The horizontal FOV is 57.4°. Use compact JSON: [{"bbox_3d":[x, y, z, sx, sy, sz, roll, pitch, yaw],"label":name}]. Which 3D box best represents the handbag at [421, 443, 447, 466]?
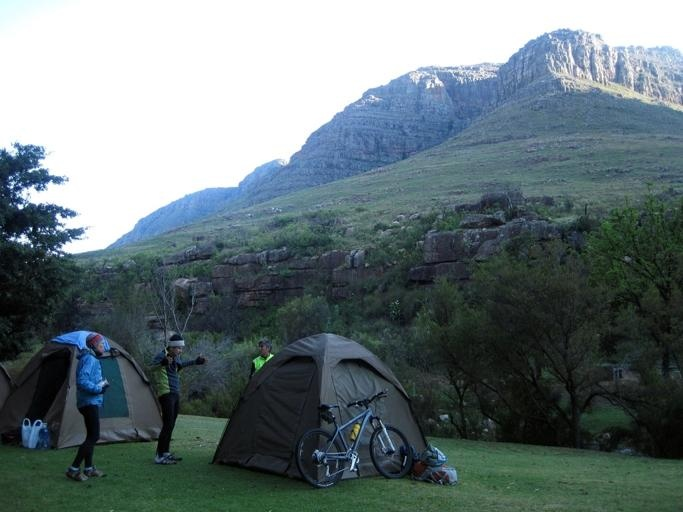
[{"bbox_3d":[2.713,5.591,17.369,0.778,0.293,0.563,13,23,-34],"label":"handbag"}]

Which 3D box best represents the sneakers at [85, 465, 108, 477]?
[{"bbox_3d":[-6.444,5.687,16.449,0.626,0.282,0.211,10,-6,-28],"label":"sneakers"}]

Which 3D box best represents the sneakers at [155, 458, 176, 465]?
[{"bbox_3d":[-4.917,5.798,17.550,0.515,0.238,0.193,0,-7,2],"label":"sneakers"}]

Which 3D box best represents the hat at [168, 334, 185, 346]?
[{"bbox_3d":[-4.628,2.420,17.636,0.351,0.263,0.363,4,-3,34],"label":"hat"}]

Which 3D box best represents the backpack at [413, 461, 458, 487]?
[{"bbox_3d":[2.526,5.912,17.114,0.626,0.347,0.842,14,-14,-38],"label":"backpack"}]

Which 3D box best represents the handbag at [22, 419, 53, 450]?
[{"bbox_3d":[-9.188,5.455,19.171,0.890,0.970,0.699,1,-8,1],"label":"handbag"}]

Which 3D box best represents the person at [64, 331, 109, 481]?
[{"bbox_3d":[-6.627,3.951,16.459,0.838,4.043,1.042,3,-1,-22],"label":"person"}]

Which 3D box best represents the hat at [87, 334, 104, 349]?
[{"bbox_3d":[-6.503,2.274,16.571,0.299,0.360,0.387,-3,-1,5],"label":"hat"}]
